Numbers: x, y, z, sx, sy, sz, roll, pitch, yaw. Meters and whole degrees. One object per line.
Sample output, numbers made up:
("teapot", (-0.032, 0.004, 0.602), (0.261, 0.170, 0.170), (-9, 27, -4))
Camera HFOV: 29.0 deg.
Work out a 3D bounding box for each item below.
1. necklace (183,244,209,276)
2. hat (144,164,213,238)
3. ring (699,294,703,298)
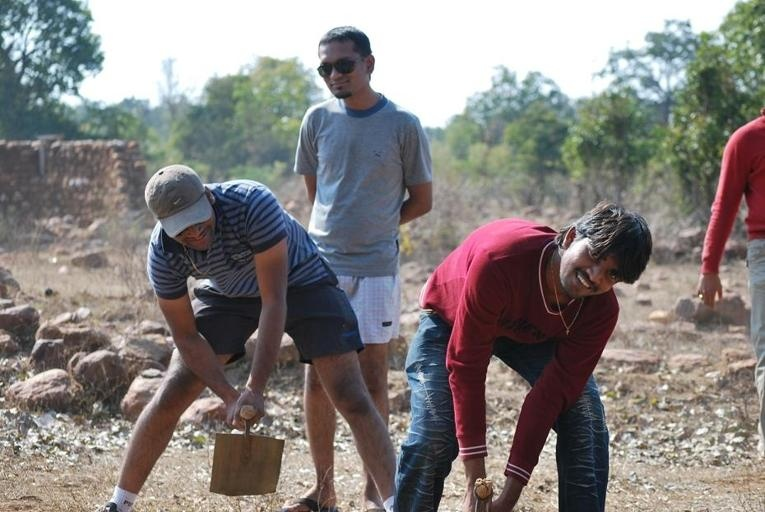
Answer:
("necklace", (-1.814, 0.082, 14.422), (0.205, 0.295, 0.112), (17, 50, 37))
("hat", (-1.948, -0.518, 14.179), (0.503, 0.750, 0.426), (-28, -37, 8))
("ring", (3.305, 0.427, 15.223), (0.032, 0.035, 0.008), (-1, -16, 2))
